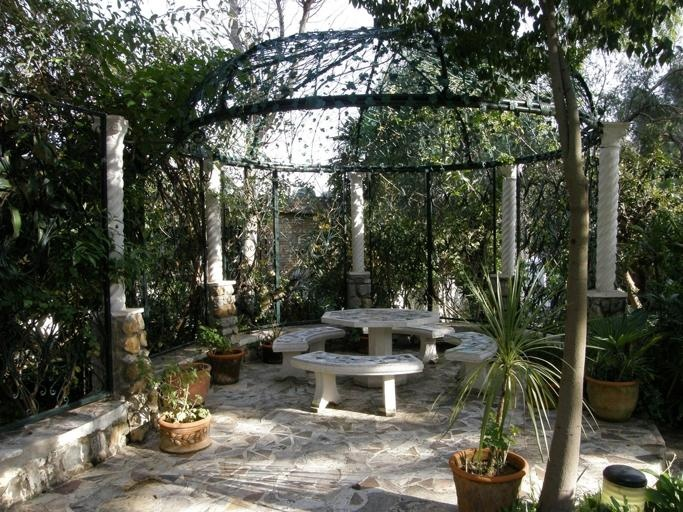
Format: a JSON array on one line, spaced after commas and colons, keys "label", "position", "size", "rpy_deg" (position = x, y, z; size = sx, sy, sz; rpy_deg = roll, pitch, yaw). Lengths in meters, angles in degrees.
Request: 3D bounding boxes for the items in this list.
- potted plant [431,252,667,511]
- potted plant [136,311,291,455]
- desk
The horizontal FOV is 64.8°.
[{"label": "potted plant", "position": [2.031, 1.220, 5.163], "size": [1.594, 3.488, 1.948], "rpy_deg": [2, 6, 31]}, {"label": "potted plant", "position": [-1.578, 1.507, 6.417], "size": [0.891, 0.598, 2.240], "rpy_deg": [0, 6, 4]}, {"label": "desk", "position": [0.491, 1.213, 7.208], "size": [1.543, 0.993, 1.596], "rpy_deg": [13, -27, -38]}]
